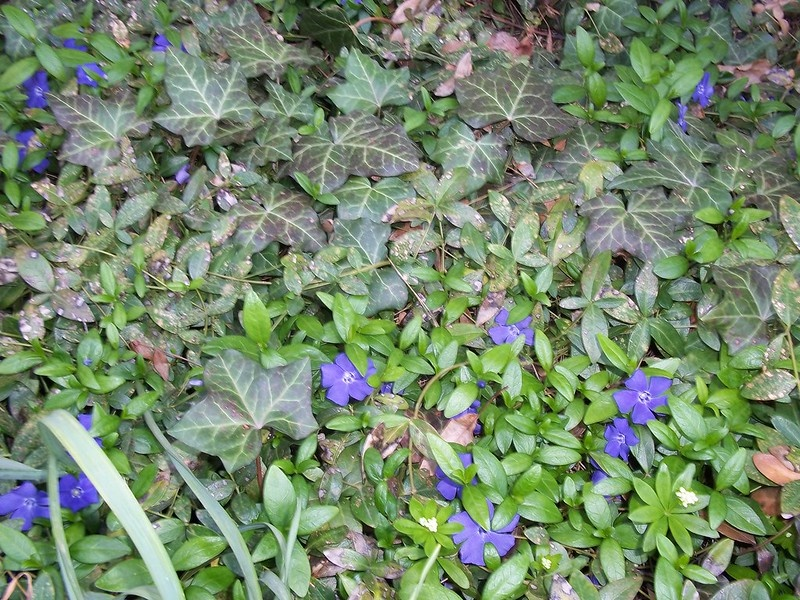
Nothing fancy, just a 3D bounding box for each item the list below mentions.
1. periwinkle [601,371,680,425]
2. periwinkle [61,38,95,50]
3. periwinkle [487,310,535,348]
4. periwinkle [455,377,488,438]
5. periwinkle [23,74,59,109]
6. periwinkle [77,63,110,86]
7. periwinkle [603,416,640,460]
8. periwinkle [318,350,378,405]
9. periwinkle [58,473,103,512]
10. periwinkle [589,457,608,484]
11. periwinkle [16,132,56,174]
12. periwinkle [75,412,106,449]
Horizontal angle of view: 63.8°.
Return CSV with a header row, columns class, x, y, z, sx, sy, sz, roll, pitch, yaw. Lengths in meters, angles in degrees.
class,x,y,z,sx,sy,sz,roll,pitch,yaw
periwinkle,0.846,0.329,2.238,0.215,0.095,0.165,-37,85,-4
periwinkle,-1.277,-0.999,2.525,0.084,0.024,0.060,15,78,17
periwinkle,0.412,0.096,2.352,0.170,0.141,0.140,1,83,0
periwinkle,0.269,0.386,2.295,0.117,0.066,0.193,23,95,34
periwinkle,-1.390,-0.805,2.463,0.105,0.032,0.138,-6,87,-3
periwinkle,-1.193,-0.871,2.472,0.102,0.042,0.090,1,84,0
periwinkle,0.770,0.487,2.248,0.113,0.036,0.147,16,101,21
periwinkle,-0.186,0.277,2.238,0.190,0.046,0.175,12,84,1
periwinkle,-1.066,0.637,2.126,0.116,0.048,0.130,-11,84,-1
periwinkle,0.687,0.590,2.234,0.052,0.079,0.081,-3,83,0
periwinkle,-1.403,-0.567,2.452,0.083,0.062,0.169,-28,85,-3
periwinkle,-0.975,0.416,2.031,0.020,0.093,0.097,-24,79,-13
